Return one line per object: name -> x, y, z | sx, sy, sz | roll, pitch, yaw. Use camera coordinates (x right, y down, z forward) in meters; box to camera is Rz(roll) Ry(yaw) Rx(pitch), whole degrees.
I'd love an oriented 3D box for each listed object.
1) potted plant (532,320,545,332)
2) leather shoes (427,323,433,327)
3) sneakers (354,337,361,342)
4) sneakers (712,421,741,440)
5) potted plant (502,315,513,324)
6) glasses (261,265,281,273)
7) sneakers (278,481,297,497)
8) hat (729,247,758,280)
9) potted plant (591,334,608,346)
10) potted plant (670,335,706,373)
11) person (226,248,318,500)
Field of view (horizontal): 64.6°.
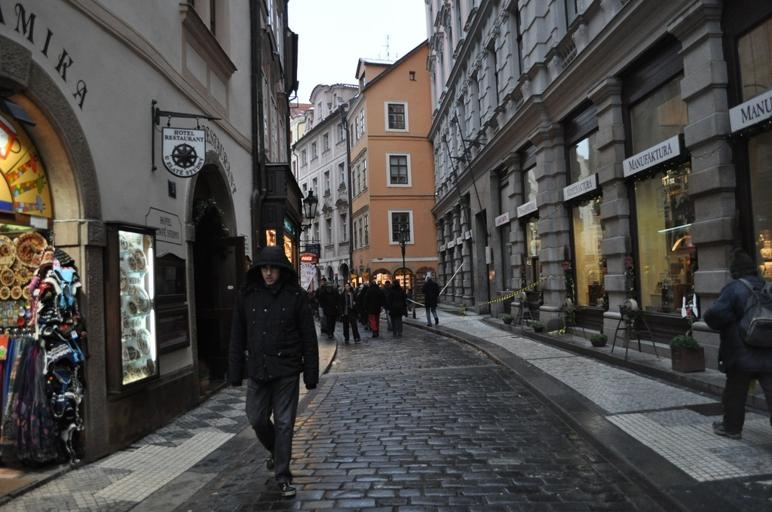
potted plant -> 4.463, 2.045, 17.868 | 0.284, 0.296, 0.305 | 0, -5, 3
leather shoes -> 1.634, 2.557, 22.843 | 0.170, 0.178, 0.120 | -1, 0, 44
sneakers -> -0.906, 2.647, 19.371 | 0.153, 0.176, 0.170 | -1, -5, 21
sneakers -> 4.552, 2.327, 8.177 | 0.129, 0.145, 0.289 | -7, 12, -28
potted plant -> 4.175, 2.160, 20.812 | 0.297, 0.304, 0.465 | -2, 2, 8
glasses -> -1.409, 0.164, 7.458 | 0.116, 0.111, 0.141 | -2, -2, 1
sneakers -> -1.140, 2.691, 7.088 | 0.198, 0.167, 0.165 | -2, 2, -12
hat -> 4.813, 0.081, 8.268 | 0.293, 0.396, 0.424 | -11, 6, 3
potted plant -> 5.017, 1.976, 14.336 | 0.488, 0.294, 0.246 | -3, 2, -33
potted plant -> 5.461, 1.704, 11.071 | 0.469, 0.760, 0.609 | -1, -1, -2
person -> -1.324, 1.306, 7.485 | 0.872, 2.836, 0.668 | -1, 2, 34
